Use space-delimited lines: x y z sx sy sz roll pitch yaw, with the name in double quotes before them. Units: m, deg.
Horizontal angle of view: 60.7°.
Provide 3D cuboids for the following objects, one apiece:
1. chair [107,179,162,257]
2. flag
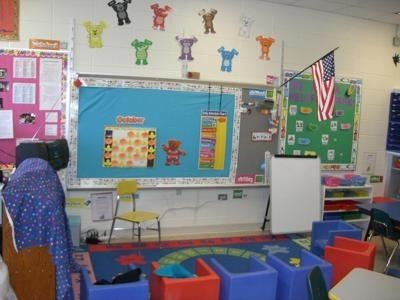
"chair" -0.983 0.928 5.104 0.660 0.960 0.643 1 -1 -42
"flag" 1.993 -1.046 5.527 0.385 1.098 0.175 5 10 11
